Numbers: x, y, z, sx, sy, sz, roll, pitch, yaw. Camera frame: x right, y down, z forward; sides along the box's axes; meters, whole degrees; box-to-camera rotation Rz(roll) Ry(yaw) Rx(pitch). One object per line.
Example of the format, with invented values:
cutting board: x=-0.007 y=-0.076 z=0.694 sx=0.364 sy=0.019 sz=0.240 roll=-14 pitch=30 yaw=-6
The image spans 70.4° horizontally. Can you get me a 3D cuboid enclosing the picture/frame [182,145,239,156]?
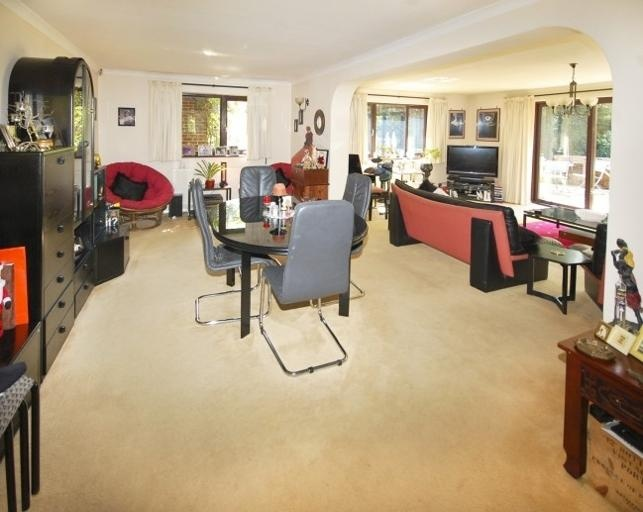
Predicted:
picture/frame: x=-2.047 y=-1.975 z=8.600 sx=1.136 sy=0.202 sz=0.179 roll=-4 pitch=15 yaw=-20

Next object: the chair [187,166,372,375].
chair: x=-0.228 y=0.048 z=3.751 sx=1.129 sy=0.978 sz=1.400 roll=-5 pitch=21 yaw=-20

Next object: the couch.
couch: x=1.574 y=-0.350 z=5.540 sx=0.797 sy=0.910 sz=2.303 roll=-4 pitch=17 yaw=-21

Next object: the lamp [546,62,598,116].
lamp: x=3.943 y=-2.638 z=7.192 sx=0.552 sy=0.812 sz=0.623 roll=1 pitch=8 yaw=-4

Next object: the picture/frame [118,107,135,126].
picture/frame: x=-3.404 y=-2.427 z=7.917 sx=0.253 sy=0.257 sz=0.029 roll=-12 pitch=23 yaw=-13

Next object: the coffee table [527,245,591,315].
coffee table: x=2.271 y=0.133 z=4.427 sx=0.557 sy=0.559 sz=0.548 roll=-20 pitch=27 yaw=-38

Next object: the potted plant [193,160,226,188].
potted plant: x=-2.040 y=-1.540 z=8.358 sx=0.555 sy=0.529 sz=0.564 roll=2 pitch=6 yaw=16

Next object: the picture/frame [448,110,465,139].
picture/frame: x=3.269 y=-3.186 z=11.098 sx=0.488 sy=0.662 sz=0.095 roll=-5 pitch=14 yaw=-25

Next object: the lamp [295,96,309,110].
lamp: x=-0.355 y=-2.735 z=8.133 sx=0.273 sy=0.362 sz=0.183 roll=1 pitch=4 yaw=-3

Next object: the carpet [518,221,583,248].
carpet: x=3.649 y=-0.417 z=7.475 sx=0.606 sy=0.241 sz=0.975 roll=-2 pitch=21 yaw=-18

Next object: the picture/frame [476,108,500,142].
picture/frame: x=3.871 y=-3.057 z=10.625 sx=0.038 sy=0.927 sz=0.695 roll=-6 pitch=12 yaw=-27

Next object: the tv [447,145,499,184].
tv: x=3.468 y=-2.093 z=10.449 sx=0.814 sy=0.662 sz=0.227 roll=9 pitch=12 yaw=39
